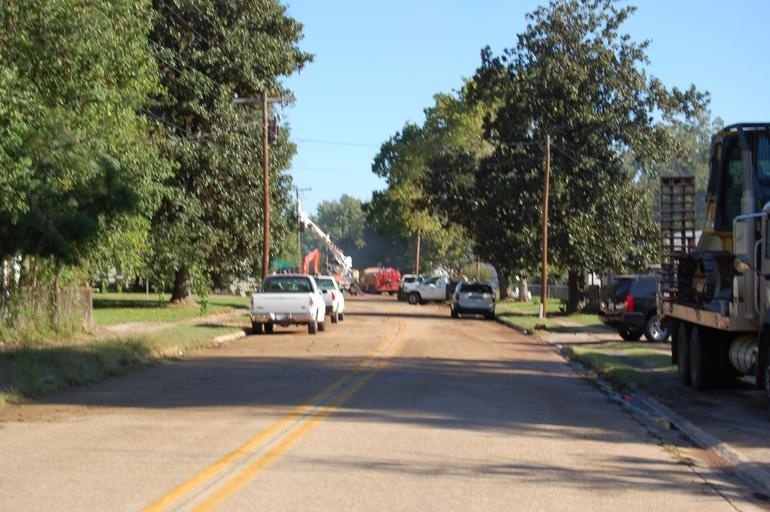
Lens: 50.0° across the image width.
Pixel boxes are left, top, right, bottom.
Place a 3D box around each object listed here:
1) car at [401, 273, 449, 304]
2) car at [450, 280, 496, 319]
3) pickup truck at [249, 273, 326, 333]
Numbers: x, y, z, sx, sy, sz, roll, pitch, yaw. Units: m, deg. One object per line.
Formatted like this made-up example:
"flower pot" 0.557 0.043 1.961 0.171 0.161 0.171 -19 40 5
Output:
"car" 3.352 2.547 64.765 2.851 1.857 1.841 2 -3 -3
"car" 4.642 2.263 43.165 2.112 1.889 1.140 1 -2 15
"pickup truck" -3.604 1.753 30.808 2.467 2.317 2.229 2 -2 -3
